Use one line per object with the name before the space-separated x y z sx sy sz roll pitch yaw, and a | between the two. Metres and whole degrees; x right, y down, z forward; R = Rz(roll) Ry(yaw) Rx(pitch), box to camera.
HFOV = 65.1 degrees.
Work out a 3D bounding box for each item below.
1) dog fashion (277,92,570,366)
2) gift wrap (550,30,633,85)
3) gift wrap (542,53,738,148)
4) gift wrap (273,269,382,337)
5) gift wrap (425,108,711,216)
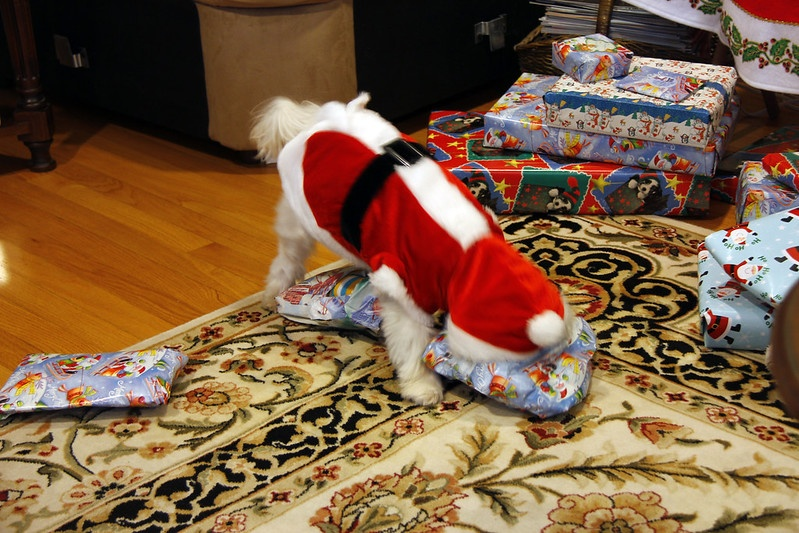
dog fashion | 0.017 -0.092 1.504 0.868 0.316 0.421 32 45 13
gift wrap | 0.668 -0.709 2.183 0.285 0.074 0.235 -16 40 -23
gift wrap | 0.832 -0.585 2.164 0.554 0.180 0.481 14 35 18
gift wrap | -0.181 0.102 1.680 0.347 0.092 0.168 3 18 13
gift wrap | 0.560 -0.316 2.220 0.685 0.754 0.132 -1 78 -3
